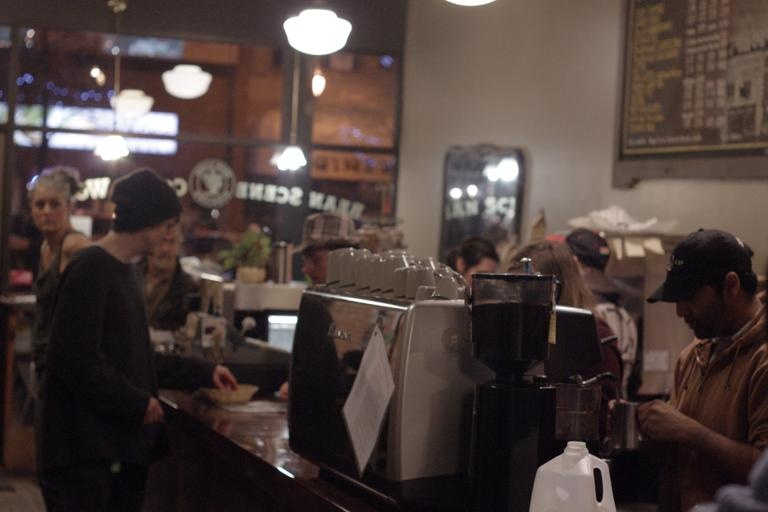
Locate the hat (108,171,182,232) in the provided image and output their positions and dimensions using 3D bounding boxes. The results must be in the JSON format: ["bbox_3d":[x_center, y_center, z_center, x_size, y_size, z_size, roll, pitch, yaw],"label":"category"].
[{"bbox_3d":[-1.028,-0.216,3.113,0.278,0.211,0.231,-25,20,21],"label":"hat"}]

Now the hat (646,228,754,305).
[{"bbox_3d":[1.138,0.037,2.690,0.348,0.204,0.243,-5,0,-1],"label":"hat"}]

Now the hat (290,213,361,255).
[{"bbox_3d":[-0.322,-0.119,3.641,0.191,0.139,0.265,2,-14,-40],"label":"hat"}]

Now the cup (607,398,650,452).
[{"bbox_3d":[0.826,0.593,2.493,0.198,0.192,0.103,3,1,-43],"label":"cup"}]
